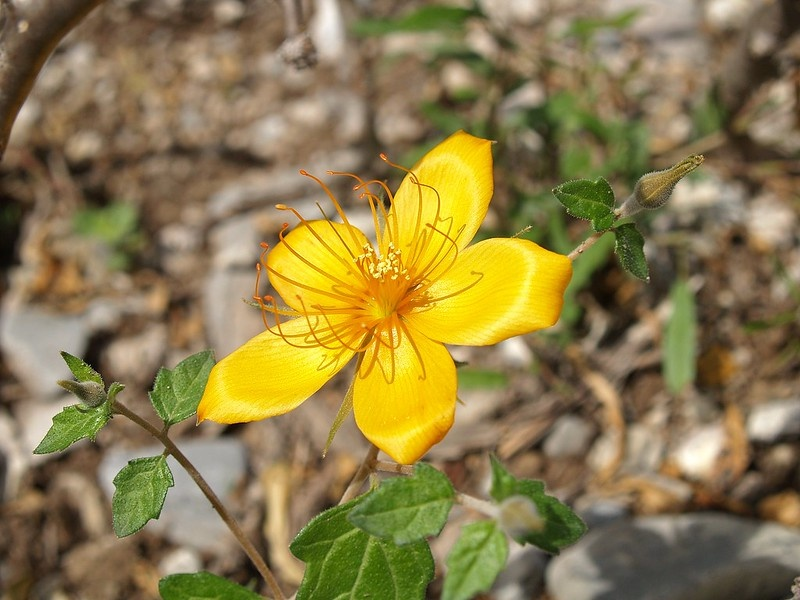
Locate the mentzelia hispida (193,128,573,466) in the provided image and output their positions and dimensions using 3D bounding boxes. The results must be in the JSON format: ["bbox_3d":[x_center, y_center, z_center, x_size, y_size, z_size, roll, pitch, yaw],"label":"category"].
[{"bbox_3d":[-0.007,0.023,3.175,1.032,0.367,1.178,8,79,35],"label":"mentzelia hispida"}]

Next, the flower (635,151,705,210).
[{"bbox_3d":[0.807,-0.361,2.997,0.255,0.078,0.109,-35,66,33],"label":"flower"}]
